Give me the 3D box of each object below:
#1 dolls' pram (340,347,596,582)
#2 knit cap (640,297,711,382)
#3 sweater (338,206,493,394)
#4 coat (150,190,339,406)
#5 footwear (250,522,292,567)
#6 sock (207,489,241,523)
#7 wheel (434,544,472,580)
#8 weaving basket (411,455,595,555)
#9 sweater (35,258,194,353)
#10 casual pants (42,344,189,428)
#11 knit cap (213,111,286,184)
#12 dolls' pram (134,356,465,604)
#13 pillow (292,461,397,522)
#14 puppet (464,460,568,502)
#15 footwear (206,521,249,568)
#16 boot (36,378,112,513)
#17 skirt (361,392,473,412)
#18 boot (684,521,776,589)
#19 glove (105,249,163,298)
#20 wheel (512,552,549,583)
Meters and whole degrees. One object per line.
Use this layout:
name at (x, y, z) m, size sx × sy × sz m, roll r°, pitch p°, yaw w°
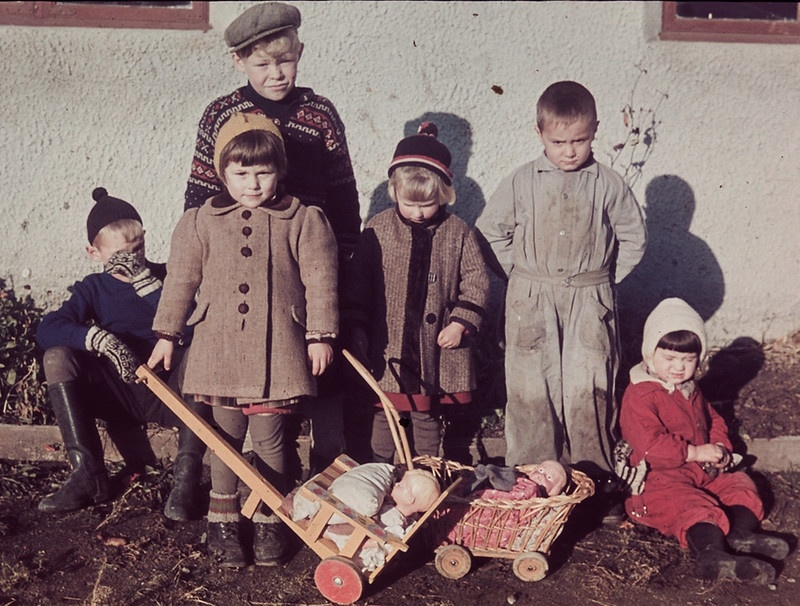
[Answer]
dolls' pram at (0.406, 0.981, 5.201) m, size 1.696 × 1.462 × 0.806 m, roll -2°, pitch 22°, yaw 5°
knit cap at (1.817, 0.210, 5.581) m, size 0.371 × 0.476 × 0.363 m, roll 7°, pitch 15°, yaw 39°
sweater at (0.069, -0.025, 5.379) m, size 1.146 × 1.350 × 0.697 m, roll -1°, pitch 4°, yaw -15°
coat at (-0.861, -0.011, 5.027) m, size 1.287 × 1.410 × 0.729 m, roll 2°, pitch -4°, yaw -5°
footwear at (-0.803, 1.414, 5.216) m, size 0.164 × 0.187 × 0.407 m, roll 8°, pitch 2°, yaw -15°
sock at (-1.030, 1.197, 5.130) m, size 0.178 × 0.166 × 0.183 m, roll 1°, pitch 0°, yaw 3°
wheel at (0.307, 1.484, 5.001) m, size 0.161 × 0.162 × 0.049 m, roll -33°, pitch 5°, yaw 9°
weaving basket at (0.601, 1.170, 5.035) m, size 0.832 × 0.298 × 0.540 m, roll -4°, pitch 0°, yaw 4°
sweater at (-1.935, 0.038, 5.655) m, size 0.917 × 0.508 × 0.533 m, roll 8°, pitch 7°, yaw -16°
casual pants at (-1.882, 0.561, 5.567) m, size 0.654 × 0.696 × 0.209 m, roll -10°, pitch 21°, yaw 14°
knit cap at (-0.897, -0.948, 5.155) m, size 0.355 × 0.380 × 0.378 m, roll -12°, pitch -17°, yaw -4°
dolls' pram at (-0.538, 1.070, 4.978) m, size 1.576 × 1.182 × 0.515 m, roll 7°, pitch 14°, yaw 19°
pillow at (-0.283, 1.021, 4.846) m, size 0.357 × 0.110 × 0.359 m, roll 16°, pitch 52°, yaw 28°
puppet at (0.742, 1.049, 5.120) m, size 0.493 × 0.173 × 0.302 m, roll 2°, pitch 9°, yaw -15°
footwear at (-1.026, 1.424, 5.134) m, size 0.147 × 0.156 × 0.348 m, roll 2°, pitch 6°, yaw -31°
boot at (-2.015, 0.892, 5.360) m, size 0.402 × 0.764 × 0.380 m, roll -2°, pitch 14°, yaw -18°
skirt at (0.072, 0.609, 5.409) m, size 0.345 × 0.076 × 0.197 m, roll -2°, pitch 2°, yaw -24°
boot at (1.882, 1.415, 5.151) m, size 0.624 × 0.435 × 0.225 m, roll -7°, pitch 37°, yaw 33°
glove at (-1.749, -0.198, 5.775) m, size 0.268 × 0.376 × 0.161 m, roll -44°, pitch -1°, yaw -45°
wheel at (0.751, 1.524, 5.025) m, size 0.161 × 0.164 × 0.049 m, roll -13°, pitch 27°, yaw 16°
